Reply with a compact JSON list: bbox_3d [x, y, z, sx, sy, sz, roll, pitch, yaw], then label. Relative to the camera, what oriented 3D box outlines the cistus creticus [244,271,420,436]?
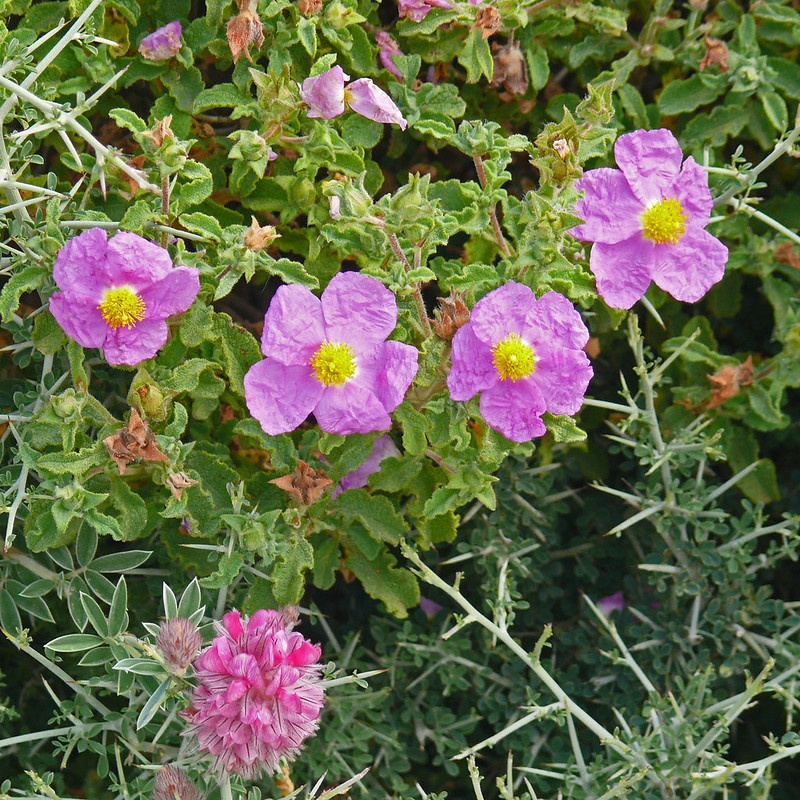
[{"bbox_3d":[-0.126,-0.081,1.714,0.305,0.159,0.251,-2,69,-6],"label":"cistus creticus"}]

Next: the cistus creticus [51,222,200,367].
[{"bbox_3d":[-0.486,-0.174,1.666,0.220,0.134,0.197,24,69,4],"label":"cistus creticus"}]

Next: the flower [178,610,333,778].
[{"bbox_3d":[-0.236,0.466,1.637,0.257,0.277,0.250,-3,54,-15],"label":"flower"}]

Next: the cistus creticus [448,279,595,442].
[{"bbox_3d":[0.225,-0.074,1.703,0.248,0.142,0.254,27,69,6],"label":"cistus creticus"}]
